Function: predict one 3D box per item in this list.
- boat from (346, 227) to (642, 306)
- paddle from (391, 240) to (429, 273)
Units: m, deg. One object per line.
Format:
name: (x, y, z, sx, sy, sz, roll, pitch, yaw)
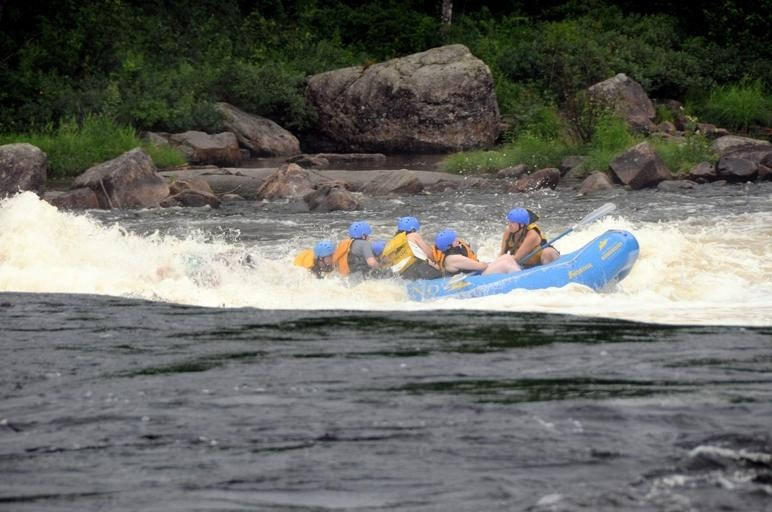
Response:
boat: (4.075, 0.311, 39.406, 5.631, 1.574, 0.813, -3, 21, -7)
paddle: (0.690, 0.101, 39.804, 0.965, 0.948, 0.341, -33, 58, 9)
